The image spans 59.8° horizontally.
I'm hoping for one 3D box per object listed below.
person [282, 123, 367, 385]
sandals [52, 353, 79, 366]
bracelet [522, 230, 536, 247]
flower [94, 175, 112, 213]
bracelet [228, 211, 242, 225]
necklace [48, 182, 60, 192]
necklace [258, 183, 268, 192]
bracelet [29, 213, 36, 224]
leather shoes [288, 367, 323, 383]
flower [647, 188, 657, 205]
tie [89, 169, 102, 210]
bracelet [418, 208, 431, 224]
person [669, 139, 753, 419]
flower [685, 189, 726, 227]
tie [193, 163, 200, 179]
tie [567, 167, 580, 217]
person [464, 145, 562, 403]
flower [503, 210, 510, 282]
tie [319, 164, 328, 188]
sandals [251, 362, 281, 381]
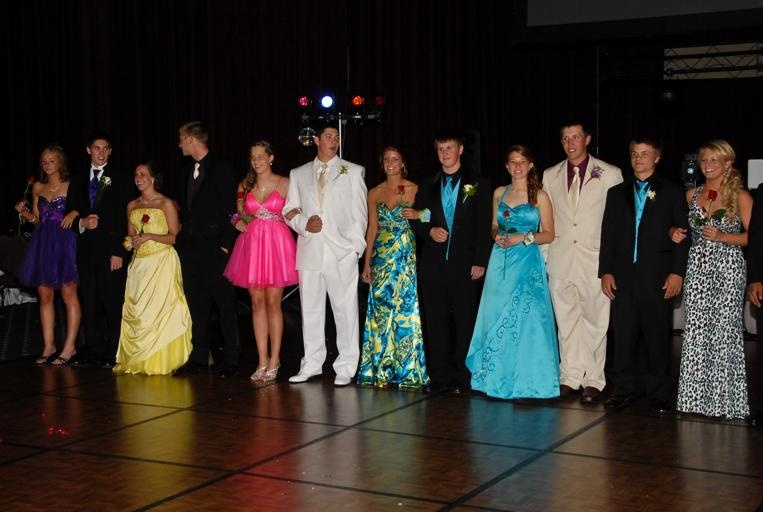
[{"bbox_3d":[-0.529,0.010,6.338,0.768,2.402,0.473,-1,7,-3],"label":"person"},{"bbox_3d":[-3.412,1.116,7.176,0.125,0.077,0.305,3,-10,3],"label":"sandals"},{"bbox_3d":[1.307,-0.144,5.857,0.111,0.120,0.055,-2,8,-10],"label":"bracelet"},{"bbox_3d":[-2.953,-0.676,6.996,0.178,0.335,0.065,13,4,5],"label":"flower"},{"bbox_3d":[-1.462,-0.380,6.607,0.111,0.121,0.040,-7,-17,37],"label":"bracelet"},{"bbox_3d":[-3.563,-0.745,7.201,0.086,0.088,0.022,-1,27,1],"label":"necklace"},{"bbox_3d":[-1.170,-0.671,6.546,0.070,0.072,0.020,15,-11,7],"label":"necklace"},{"bbox_3d":[-3.880,-0.424,7.345,0.075,0.106,0.037,-1,-5,6],"label":"bracelet"},{"bbox_3d":[-0.745,1.158,6.501,0.335,0.131,0.123,2,-3,-37],"label":"leather shoes"},{"bbox_3d":[2.254,-0.504,5.526,0.079,0.091,0.033,-1,10,-1],"label":"flower"},{"bbox_3d":[-3.052,-0.724,7.074,0.121,0.373,0.042,4,-5,6],"label":"tie"},{"bbox_3d":[0.393,-0.366,6.089,0.099,0.115,0.044,2,-11,22],"label":"bracelet"},{"bbox_3d":[2.737,0.187,5.367,0.532,2.211,0.407,3,8,28],"label":"person"},{"bbox_3d":[2.615,-0.376,5.422,0.261,0.284,0.095,5,-31,3],"label":"flower"},{"bbox_3d":[-1.880,-0.858,6.706,0.084,0.135,0.038,30,12,32],"label":"tie"},{"bbox_3d":[1.727,-0.594,5.927,0.101,0.382,0.105,2,8,23],"label":"tie"},{"bbox_3d":[1.179,0.140,5.925,0.788,2.204,0.540,0,7,8],"label":"person"},{"bbox_3d":[1.136,-0.118,5.917,0.071,0.518,0.080,1,-12,18],"label":"flower"},{"bbox_3d":[-0.567,-0.758,6.323,0.081,0.218,0.034,0,7,7],"label":"tie"},{"bbox_3d":[-1.157,1.160,6.532,0.276,0.137,0.292,-2,8,-13],"label":"sandals"}]
